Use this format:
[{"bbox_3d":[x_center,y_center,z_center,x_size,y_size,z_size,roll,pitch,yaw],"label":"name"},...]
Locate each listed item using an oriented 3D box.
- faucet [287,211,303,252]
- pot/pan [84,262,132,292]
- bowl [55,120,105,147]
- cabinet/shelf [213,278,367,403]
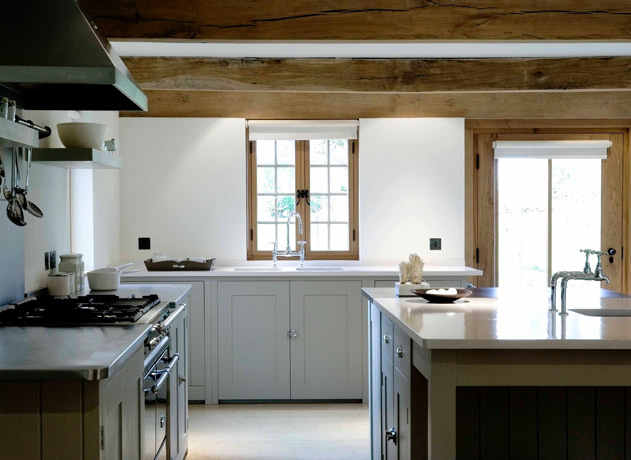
[{"bbox_3d":[-0.182,0.007,5.483,0.156,0.370,0.226,0,-2,-2],"label":"faucet"},{"bbox_3d":[-1.388,0.321,3.971,0.202,0.150,0.178,1,-2,-22],"label":"pot/pan"},{"bbox_3d":[-1.434,-0.583,3.720,0.201,0.110,0.198,0,1,0],"label":"bowl"},{"bbox_3d":[-0.250,0.859,4.961,0.925,0.840,0.376,0,-3,0],"label":"cabinet/shelf"}]
